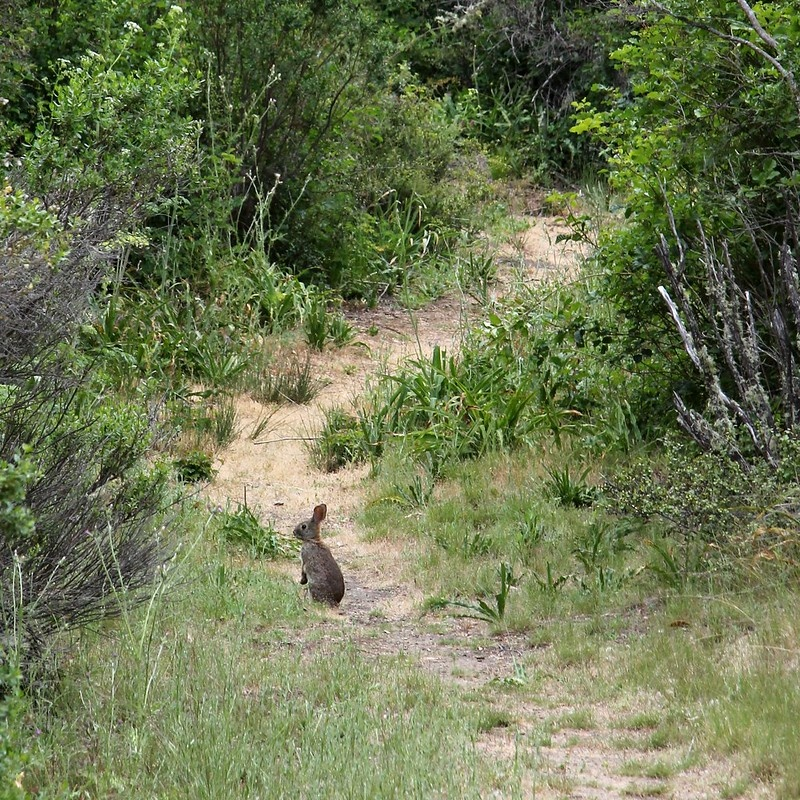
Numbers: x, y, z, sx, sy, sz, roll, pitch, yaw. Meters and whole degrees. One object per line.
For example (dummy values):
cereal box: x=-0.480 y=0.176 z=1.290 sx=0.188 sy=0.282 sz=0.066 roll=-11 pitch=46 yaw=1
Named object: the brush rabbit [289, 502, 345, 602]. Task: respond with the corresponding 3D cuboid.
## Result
brush rabbit: x=-0.450 y=0.869 z=6.605 sx=0.296 sy=0.516 sz=0.416 roll=2 pitch=7 yaw=-8
